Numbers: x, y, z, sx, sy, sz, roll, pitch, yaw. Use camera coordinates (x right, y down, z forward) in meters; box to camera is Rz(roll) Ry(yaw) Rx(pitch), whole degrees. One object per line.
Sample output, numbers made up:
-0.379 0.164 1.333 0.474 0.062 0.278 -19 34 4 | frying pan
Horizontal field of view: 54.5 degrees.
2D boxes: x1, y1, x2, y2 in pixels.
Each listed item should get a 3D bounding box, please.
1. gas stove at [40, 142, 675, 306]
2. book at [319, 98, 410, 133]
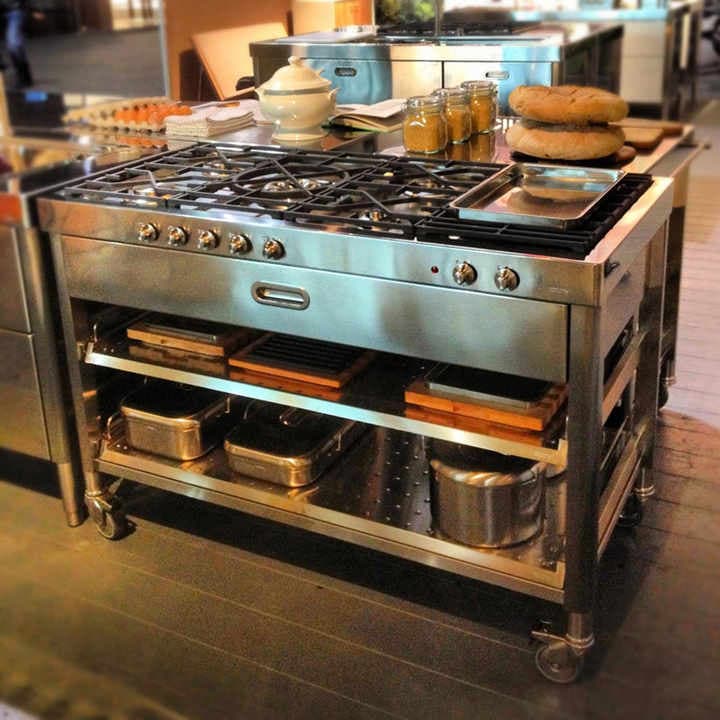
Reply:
-0.036 -0.357 1.603 1.324 0.215 0.578 9 26 27 | gas stove
0.068 -0.814 2.319 0.267 0.050 0.224 15 36 23 | book
